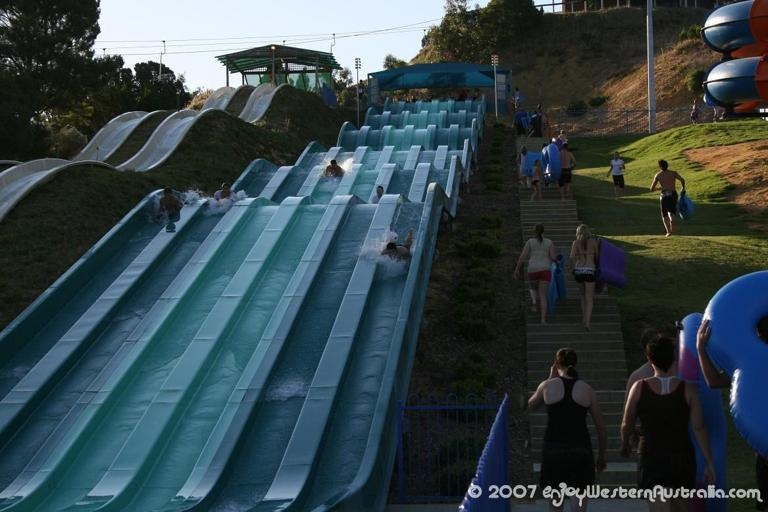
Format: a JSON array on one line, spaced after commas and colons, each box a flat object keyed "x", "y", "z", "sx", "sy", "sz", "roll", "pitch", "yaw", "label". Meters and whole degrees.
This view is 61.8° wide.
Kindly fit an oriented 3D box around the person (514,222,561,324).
[{"x": 3.104, "y": 0.315, "z": 13.100, "sx": 0.749, "sy": 1.961, "sz": 0.807, "roll": 4, "pitch": 24, "yaw": 29, "label": "person"}]

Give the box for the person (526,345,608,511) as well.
[{"x": 2.111, "y": 1.950, "z": 7.519, "sx": 0.717, "sy": 1.464, "sz": 0.869, "roll": 13, "pitch": 29, "yaw": 43, "label": "person"}]

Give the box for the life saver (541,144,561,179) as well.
[{"x": 5.274, "y": -2.835, "z": 20.177, "sx": 0.534, "sy": 1.261, "sz": 0.928, "roll": -2, "pitch": 22, "yaw": 14, "label": "life saver"}]

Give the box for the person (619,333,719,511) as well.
[{"x": 3.266, "y": 2.011, "z": 7.387, "sx": 0.943, "sy": 1.998, "sz": 0.858, "roll": -8, "pitch": 21, "yaw": -1, "label": "person"}]
